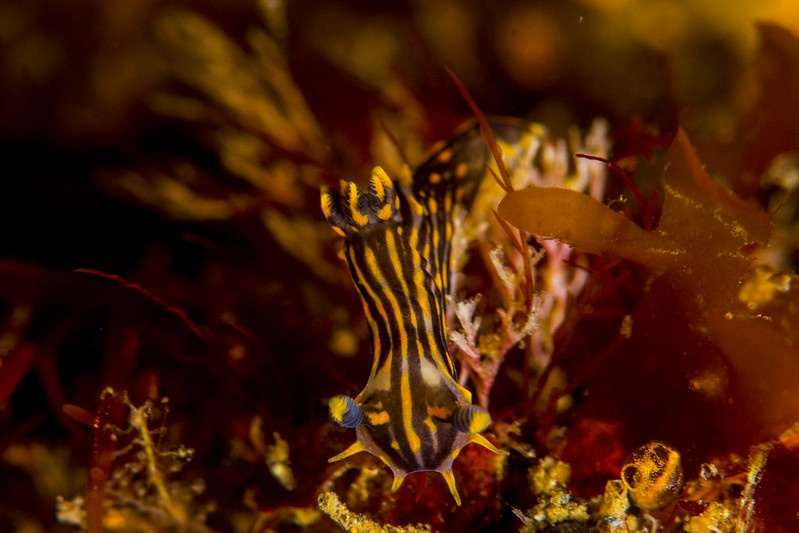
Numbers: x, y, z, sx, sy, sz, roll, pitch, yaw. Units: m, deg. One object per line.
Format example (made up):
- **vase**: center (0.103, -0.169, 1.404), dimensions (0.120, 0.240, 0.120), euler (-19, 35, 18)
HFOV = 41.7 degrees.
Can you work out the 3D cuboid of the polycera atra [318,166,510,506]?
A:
- **polycera atra**: center (0.019, 0.151, 2.749), dimensions (0.373, 0.898, 0.601), euler (2, -3, 2)
